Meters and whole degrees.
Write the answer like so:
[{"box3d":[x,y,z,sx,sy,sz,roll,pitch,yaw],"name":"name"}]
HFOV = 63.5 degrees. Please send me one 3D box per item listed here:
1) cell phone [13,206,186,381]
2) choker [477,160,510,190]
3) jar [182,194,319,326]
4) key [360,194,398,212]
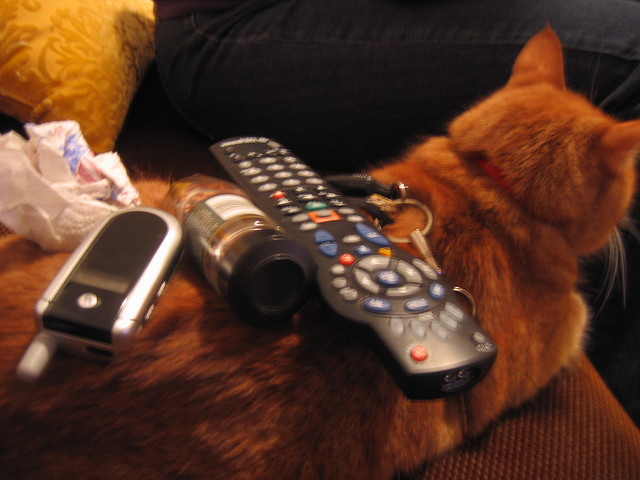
[{"box3d":[-0.178,0.046,0.480,0.089,0.039,0.163,21,48,18],"name":"cell phone"},{"box3d":[0.170,-0.068,0.535,0.007,0.010,0.053,-1,36,-49],"name":"choker"},{"box3d":[-0.066,0.023,0.461,0.055,0.065,0.120,-53,33,-5],"name":"jar"},{"box3d":[0.067,-0.041,0.561,0.031,0.006,0.017,24,34,35],"name":"key"}]
